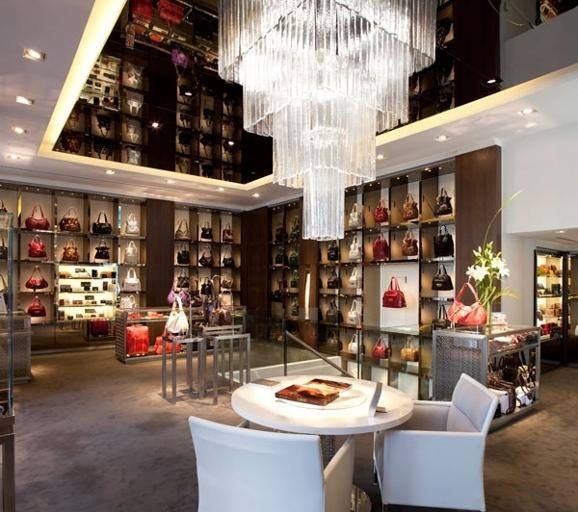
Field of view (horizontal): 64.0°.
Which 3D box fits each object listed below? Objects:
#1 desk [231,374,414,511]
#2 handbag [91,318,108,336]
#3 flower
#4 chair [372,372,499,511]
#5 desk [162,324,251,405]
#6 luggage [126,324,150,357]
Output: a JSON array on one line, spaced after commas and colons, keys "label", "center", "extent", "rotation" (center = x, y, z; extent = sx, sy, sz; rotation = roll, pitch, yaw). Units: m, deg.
[{"label": "desk", "center": [0.258, 0.966, 3.124], "extent": [0.853, 0.574, 0.981], "rotation": [0, 5, 12]}, {"label": "handbag", "center": [-3.527, 1.357, 8.615], "extent": [0.359, 0.301, 0.084], "rotation": [0, 1, -36]}, {"label": "flower", "center": [2.175, 0.155, 5.023], "extent": [0.366, 1.394, 0.519], "rotation": [-5, 7, -17]}, {"label": "chair", "center": [0.974, 1.240, 3.307], "extent": [0.721, 1.053, 0.947], "rotation": [0, -3, 8]}, {"label": "desk", "center": [-1.077, 1.453, 6.244], "extent": [1.067, 0.929, 1.028], "rotation": [2, -3, -38]}, {"label": "luggage", "center": [-2.512, 1.375, 7.732], "extent": [0.392, 0.647, 0.391], "rotation": [0, 2, -25]}]
